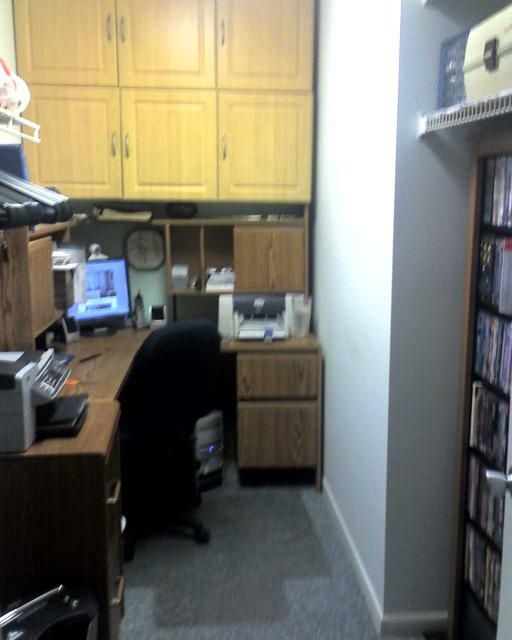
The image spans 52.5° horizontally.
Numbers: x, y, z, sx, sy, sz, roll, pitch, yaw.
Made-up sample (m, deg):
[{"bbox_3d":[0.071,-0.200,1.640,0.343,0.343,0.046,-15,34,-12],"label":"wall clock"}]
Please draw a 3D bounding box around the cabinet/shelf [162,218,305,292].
[{"bbox_3d":[-0.098,-0.326,2.646,0.730,0.367,0.246,0,5,9],"label":"cabinet/shelf"}]

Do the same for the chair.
[{"bbox_3d":[-0.426,0.468,1.974,0.361,0.849,0.348,-11,0,-32],"label":"chair"}]

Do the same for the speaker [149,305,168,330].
[{"bbox_3d":[-0.499,-0.018,2.737,0.077,0.189,0.170,-1,4,-3],"label":"speaker"}]

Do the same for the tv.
[{"bbox_3d":[-0.762,-0.122,2.578,0.276,0.135,0.435,-2,54,-23],"label":"tv"}]
